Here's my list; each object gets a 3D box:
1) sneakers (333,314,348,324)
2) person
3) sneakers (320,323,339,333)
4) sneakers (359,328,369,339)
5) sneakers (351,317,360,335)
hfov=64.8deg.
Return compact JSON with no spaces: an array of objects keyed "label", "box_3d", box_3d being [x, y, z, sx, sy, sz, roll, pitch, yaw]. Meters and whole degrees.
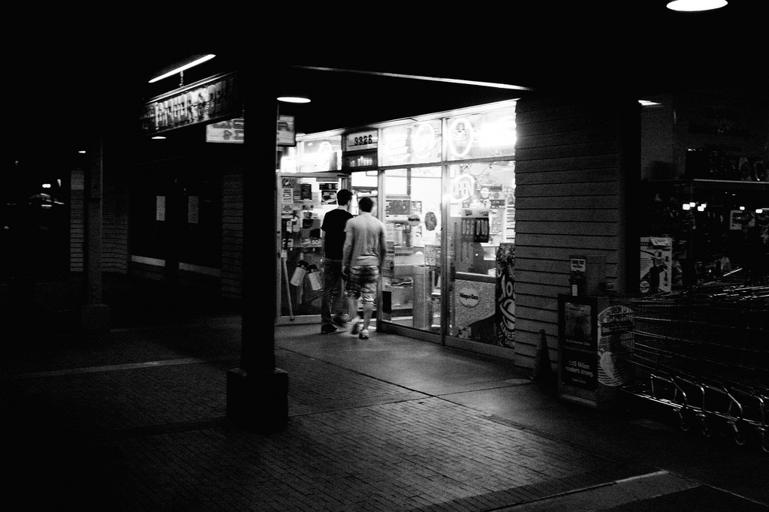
[{"label":"sneakers","box_3d":[-0.830,1.202,11.501,0.228,0.180,0.212,0,0,-17]},{"label":"person","box_3d":[-0.551,0.129,10.837,0.966,2.575,1.181,2,3,-22]},{"label":"sneakers","box_3d":[-1.015,1.331,11.100,0.309,0.112,0.132,0,-2,-12]},{"label":"sneakers","box_3d":[-0.364,1.357,10.563,0.155,0.150,0.387,1,-8,-5]},{"label":"sneakers","box_3d":[-0.527,1.282,10.859,0.128,0.139,0.357,1,-30,-1]}]
